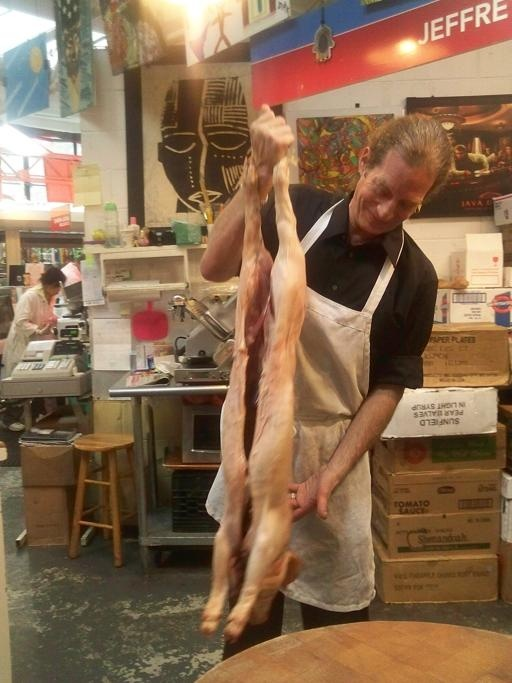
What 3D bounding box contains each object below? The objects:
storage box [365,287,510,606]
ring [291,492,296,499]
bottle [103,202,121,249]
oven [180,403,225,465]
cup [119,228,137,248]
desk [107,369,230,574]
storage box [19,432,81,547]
[{"bbox_3d":[0.902,0.639,3.296,0.619,1.284,0.781,-2,14,-2],"label":"storage box"},{"bbox_3d":[0.093,0.384,1.534,0.005,0.016,0.018,6,3,-8],"label":"ring"},{"bbox_3d":[-0.934,-0.762,3.990,0.103,0.292,0.220,-3,7,-13],"label":"bottle"},{"bbox_3d":[-0.330,0.526,3.654,0.290,0.327,0.235,-4,15,-11],"label":"oven"},{"bbox_3d":[-0.797,-0.662,3.873,0.108,0.122,0.082,-2,7,-11],"label":"cup"},{"bbox_3d":[-0.599,0.681,3.746,0.925,1.115,0.817,0,16,-5],"label":"desk"},{"bbox_3d":[-1.273,0.929,4.000,0.414,0.665,0.411,-5,15,-14],"label":"storage box"}]
